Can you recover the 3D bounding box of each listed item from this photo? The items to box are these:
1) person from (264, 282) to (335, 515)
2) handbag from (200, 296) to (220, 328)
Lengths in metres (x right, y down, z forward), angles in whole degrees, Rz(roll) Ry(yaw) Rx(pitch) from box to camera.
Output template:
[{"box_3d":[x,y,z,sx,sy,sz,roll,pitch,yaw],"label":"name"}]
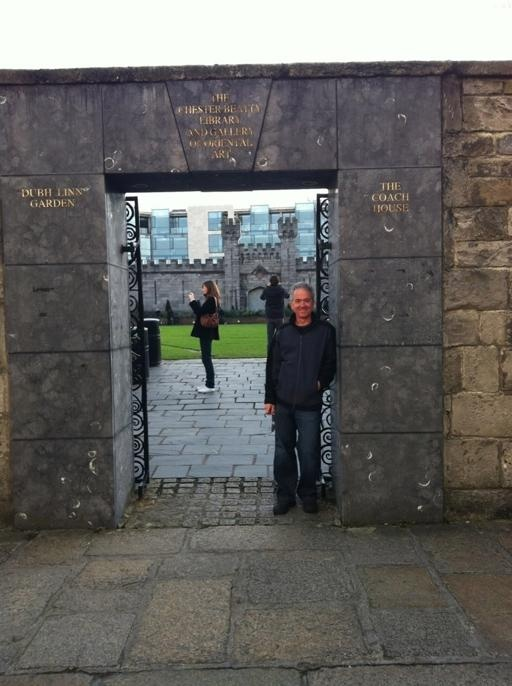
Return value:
[{"box_3d":[0.316,0.409,5.511,0.561,1.675,0.344,0,6,12],"label":"person"},{"box_3d":[-0.675,-0.416,10.757,0.267,0.465,0.188,-3,6,-15],"label":"handbag"}]
